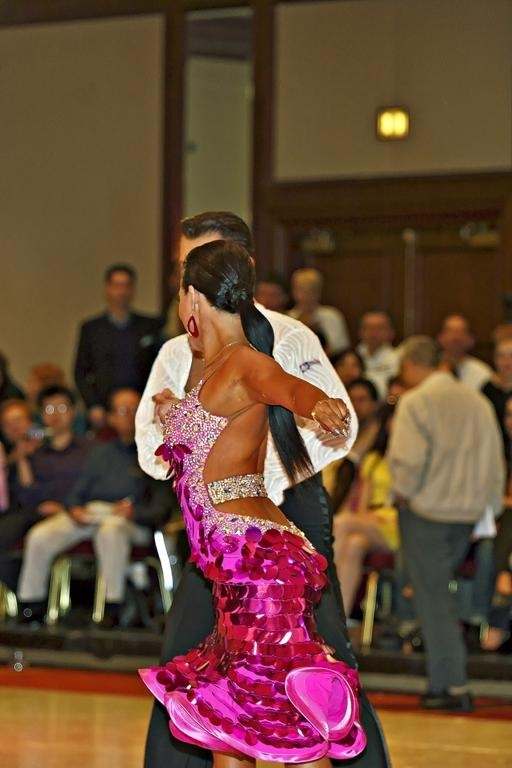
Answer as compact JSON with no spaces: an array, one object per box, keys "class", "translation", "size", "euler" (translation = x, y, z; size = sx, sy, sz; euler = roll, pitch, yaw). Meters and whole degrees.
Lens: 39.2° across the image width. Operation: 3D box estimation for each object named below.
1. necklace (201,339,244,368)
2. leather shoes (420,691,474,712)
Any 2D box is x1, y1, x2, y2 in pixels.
[{"class":"necklace","translation":[-0.062,-0.041,1.194],"size":[0.062,0.017,0.044],"euler":[-31,0,22]},{"class":"leather shoes","translation":[0.789,1.294,2.960],"size":[0.211,0.077,0.091],"euler":[0,-9,7]}]
